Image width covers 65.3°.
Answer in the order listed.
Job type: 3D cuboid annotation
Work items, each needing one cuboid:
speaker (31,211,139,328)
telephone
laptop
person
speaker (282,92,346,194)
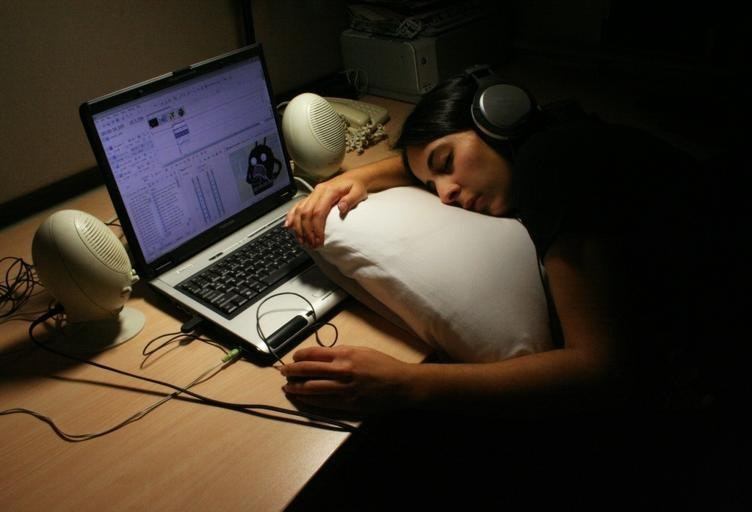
[{"bbox_3d":[-0.603,0.016,1.226,0.193,0.238,0.187,4,12,15],"label":"speaker"},{"bbox_3d":[-0.068,-0.402,1.741,0.211,0.058,0.152,24,50,15],"label":"telephone"},{"bbox_3d":[-0.502,-0.130,1.433,0.553,0.536,0.336,-34,91,-26],"label":"laptop"},{"bbox_3d":[0.172,-0.066,1.274,0.778,0.271,0.838,-9,47,-13],"label":"person"},{"bbox_3d":[-0.165,-0.319,1.589,0.182,0.231,0.187,-5,34,-11],"label":"speaker"}]
